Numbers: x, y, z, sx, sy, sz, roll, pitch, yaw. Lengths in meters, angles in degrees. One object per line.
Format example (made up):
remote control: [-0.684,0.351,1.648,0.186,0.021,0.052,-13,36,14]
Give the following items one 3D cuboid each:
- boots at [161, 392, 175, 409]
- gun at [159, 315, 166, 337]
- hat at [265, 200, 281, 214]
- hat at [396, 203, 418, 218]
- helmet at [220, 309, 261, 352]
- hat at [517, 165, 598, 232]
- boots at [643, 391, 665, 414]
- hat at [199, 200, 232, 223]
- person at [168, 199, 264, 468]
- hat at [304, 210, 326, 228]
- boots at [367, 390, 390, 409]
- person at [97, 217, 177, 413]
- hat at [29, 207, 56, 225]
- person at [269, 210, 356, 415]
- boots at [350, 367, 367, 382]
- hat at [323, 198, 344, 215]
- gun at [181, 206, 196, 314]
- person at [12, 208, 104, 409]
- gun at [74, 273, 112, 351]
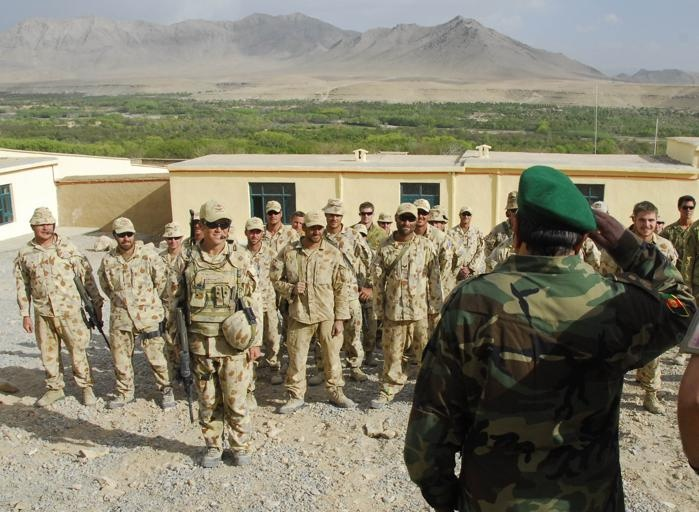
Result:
boots: [-2.383,1.904,9.251,0.185,0.211,0.207,-1,-3,-20]
gun: [-2.444,0.934,9.275,0.080,0.248,0.168,8,-2,-35]
hat: [-1.219,-0.815,11.227,0.275,0.247,0.435,1,-7,-3]
hat: [0.712,-0.583,8.787,0.153,0.121,0.224,3,-11,5]
helmet: [-1.163,0.816,7.393,0.322,0.351,0.437,17,28,-31]
hat: [1.237,-0.330,4.221,0.452,0.414,0.248,1,11,13]
boots: [3.712,1.806,8.664,0.312,0.319,0.156,1,9,18]
hat: [-1.452,-0.485,7.385,0.206,0.172,0.284,-7,17,-31]
person: [-1.405,0.849,7.526,0.912,2.859,0.568,-3,11,-10]
hat: [-0.440,-0.469,9.044,0.375,0.275,0.516,0,4,-4]
boots: [0.386,1.861,9.039,0.141,0.139,0.320,-3,-7,22]
person: [-2.785,0.760,9.157,0.844,2.479,0.616,-4,11,-15]
hat: [-4.042,-0.507,9.222,0.243,0.174,0.292,0,0,-36]
person: [-0.480,0.714,9.001,1.003,2.537,0.577,-3,11,-7]
boots: [0.113,1.694,10.068,0.264,0.269,0.136,-3,2,33]
hat: [-0.190,-0.653,9.520,0.215,0.123,0.234,20,22,38]
gun: [-2.091,-0.003,9.156,0.135,1.934,0.377,1,9,-7]
person: [-3.855,0.670,9.274,1.022,2.600,0.605,-2,11,-1]
gun: [-3.563,0.800,9.751,0.175,1.257,0.462,-25,9,-14]
